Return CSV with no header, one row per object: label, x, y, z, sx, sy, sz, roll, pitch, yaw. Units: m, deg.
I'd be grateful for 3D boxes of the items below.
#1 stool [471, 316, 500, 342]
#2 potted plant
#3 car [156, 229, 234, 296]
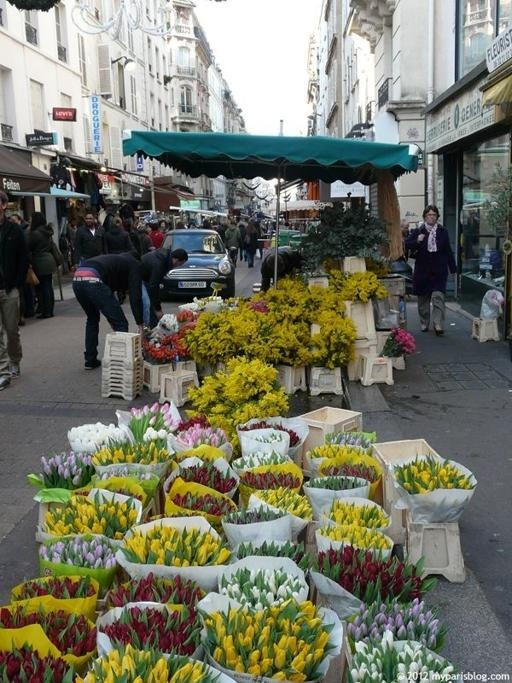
stool,3.768,-0.261,8.745,0.354,0.392,0.443,1,6,6
potted plant,1.257,-1.452,7.507,0.971,0.905,0.931,-6,5,-36
car,-1.539,-2.218,15.013,1.627,1.442,2.938,-2,10,-1
